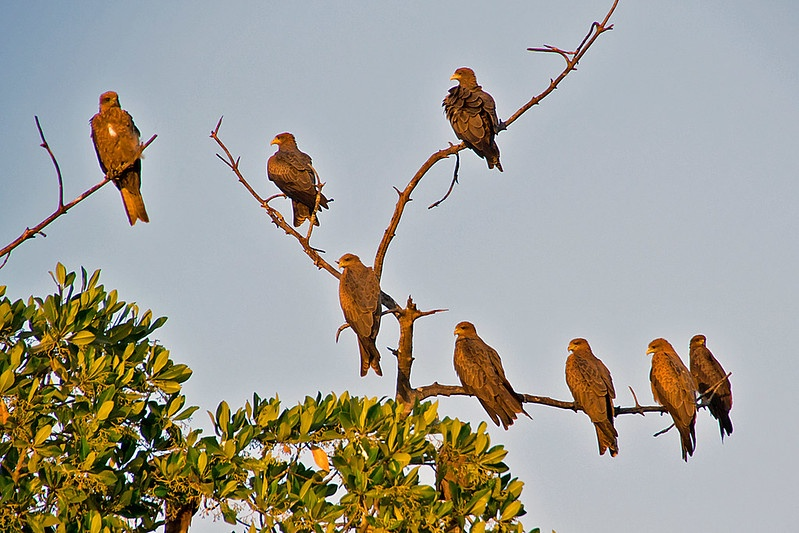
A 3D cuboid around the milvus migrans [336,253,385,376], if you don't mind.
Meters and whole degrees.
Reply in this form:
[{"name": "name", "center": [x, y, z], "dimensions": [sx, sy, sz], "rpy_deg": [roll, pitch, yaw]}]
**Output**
[{"name": "milvus migrans", "center": [-0.398, 0.360, 13.701], "dimensions": [0.401, 1.447, 0.476], "rpy_deg": [0, -30, -8]}]
